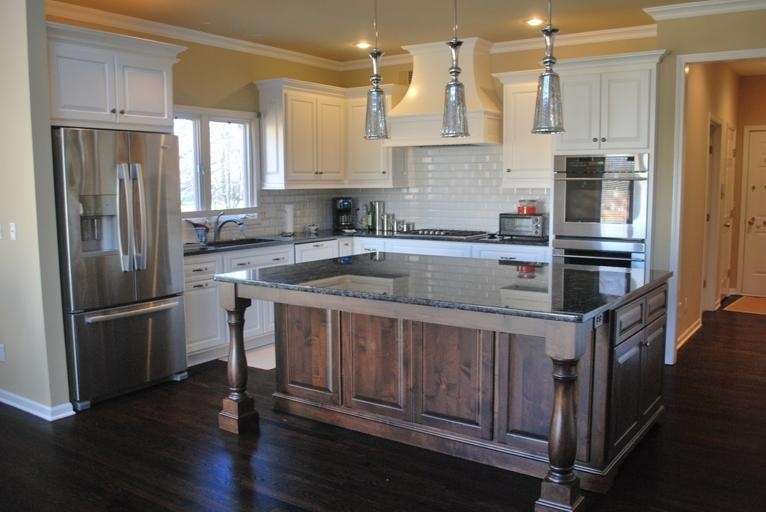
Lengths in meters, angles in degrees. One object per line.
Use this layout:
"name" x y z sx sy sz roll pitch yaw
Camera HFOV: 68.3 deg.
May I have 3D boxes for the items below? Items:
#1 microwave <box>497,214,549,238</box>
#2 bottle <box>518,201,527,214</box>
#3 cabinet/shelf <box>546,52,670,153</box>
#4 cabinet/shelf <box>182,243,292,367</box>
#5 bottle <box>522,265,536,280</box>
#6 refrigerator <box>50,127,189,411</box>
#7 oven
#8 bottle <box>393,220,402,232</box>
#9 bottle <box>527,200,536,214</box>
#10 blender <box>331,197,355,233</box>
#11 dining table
"microwave" 1.643 -0.362 6.731 0.518 0.297 0.312 2 2 28
"bottle" 1.708 -0.615 6.904 0.100 0.134 0.271 2 14 12
"cabinet/shelf" 2.483 -1.603 6.225 1.188 1.061 0.403 13 30 43
"cabinet/shelf" -1.758 0.523 6.518 0.553 1.179 1.549 4 8 38
"bottle" 1.172 0.123 4.521 0.113 0.094 0.107 -1 1 -17
"refrigerator" -2.370 0.075 5.185 1.229 2.450 0.475 -11 18 -34
"oven" 2.272 -0.464 6.472 1.150 1.381 1.063 0 2 -13
"bottle" 0.225 -0.419 7.728 0.152 0.137 0.146 -1 1 -36
"bottle" 1.813 -0.601 6.885 0.176 0.159 0.167 0 -1 7
"blender" -0.600 -0.615 8.015 0.357 0.442 0.316 0 10 0
"dining table" 0.964 0.775 4.464 2.715 1.133 1.992 4 7 34
